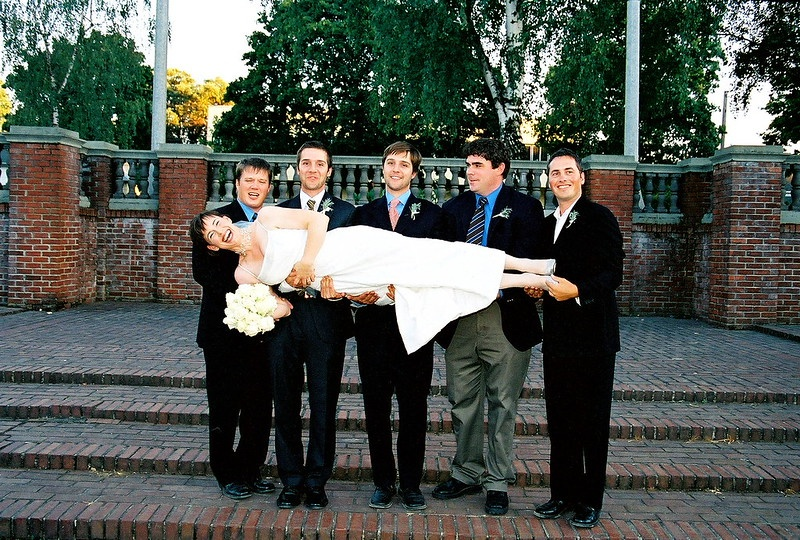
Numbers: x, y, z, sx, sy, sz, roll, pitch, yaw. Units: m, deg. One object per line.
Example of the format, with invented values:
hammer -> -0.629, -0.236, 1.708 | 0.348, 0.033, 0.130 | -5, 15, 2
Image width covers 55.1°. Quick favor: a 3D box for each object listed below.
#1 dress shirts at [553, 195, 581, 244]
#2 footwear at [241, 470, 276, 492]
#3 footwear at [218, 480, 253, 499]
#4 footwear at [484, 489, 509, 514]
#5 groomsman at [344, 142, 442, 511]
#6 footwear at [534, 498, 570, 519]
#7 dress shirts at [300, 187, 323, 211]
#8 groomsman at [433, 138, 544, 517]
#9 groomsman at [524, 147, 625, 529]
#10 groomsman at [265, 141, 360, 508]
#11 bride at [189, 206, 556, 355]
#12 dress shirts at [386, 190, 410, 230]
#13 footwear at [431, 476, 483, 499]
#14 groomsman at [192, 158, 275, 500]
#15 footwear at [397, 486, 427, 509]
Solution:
dress shirts -> 1.991, -0.612, 9.258 | 0.360, 0.491, 0.137 | 5, 1, 45
footwear -> -1.746, 2.617, 9.423 | 0.458, 0.191, 0.181 | 9, 3, 4
footwear -> -1.993, 2.693, 9.355 | 0.340, 0.122, 0.156 | 1, -3, 19
footwear -> 1.157, 2.799, 9.206 | 0.285, 0.269, 0.173 | 3, 8, 6
groomsman -> -0.075, 0.621, 9.166 | 1.325, 4.291, 1.242 | 0, -2, -1
footwear -> 1.796, 2.878, 9.249 | 0.446, 0.181, 0.184 | 4, -2, -12
dress shirts -> -1.109, -0.867, 9.499 | 0.222, 0.283, 0.132 | 1, -1, 4
groomsman -> 0.970, 0.669, 9.395 | 1.547, 4.530, 1.444 | 2, 3, 42
groomsman -> 1.952, 0.760, 9.441 | 1.462, 4.432, 1.430 | 3, -1, 3
groomsman -> -1.176, 0.602, 9.168 | 1.211, 4.231, 1.230 | 1, 0, 14
bride -> -0.365, 0.043, 9.180 | 4.158, 1.297, 1.168 | 4, 21, 2
dress shirts -> -0.059, -0.729, 9.313 | 0.268, 0.471, 0.121 | 1, -3, 7
footwear -> 0.680, 2.706, 9.500 | 0.627, 0.236, 0.227 | 4, -4, -12
groomsman -> -1.927, 0.738, 9.406 | 1.375, 4.199, 1.234 | -1, -1, -14
footwear -> 0.147, 2.757, 9.235 | 0.359, 0.150, 0.162 | 1, 6, 28
